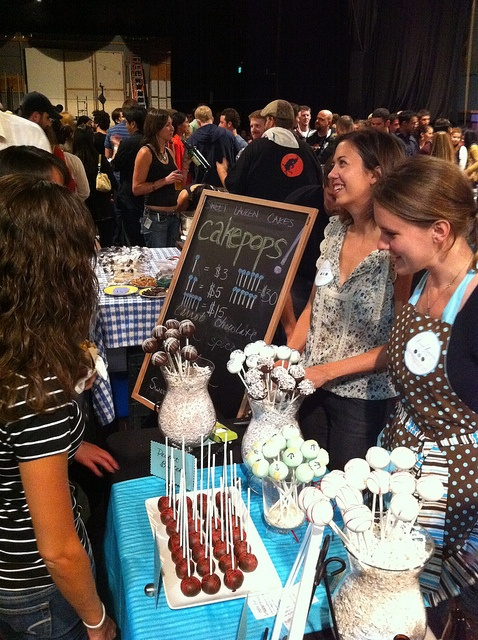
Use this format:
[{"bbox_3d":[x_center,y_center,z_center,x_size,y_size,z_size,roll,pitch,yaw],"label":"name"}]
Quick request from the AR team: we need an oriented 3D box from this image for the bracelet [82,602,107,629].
[{"bbox_3d":[-0.271,0.562,0.846,0.045,0.054,0.020,-20,-10,19],"label":"bracelet"}]

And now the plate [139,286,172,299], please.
[{"bbox_3d":[-0.511,-0.167,2.695,0.123,0.028,0.122,-12,28,-26],"label":"plate"}]

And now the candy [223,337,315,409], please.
[{"bbox_3d":[0.078,0.137,1.060,0.170,0.154,0.258,1,-20,4],"label":"candy"}]

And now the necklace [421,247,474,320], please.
[{"bbox_3d":[0.523,-0.096,1.102,0.150,0.154,0.047,19,-2,37],"label":"necklace"}]

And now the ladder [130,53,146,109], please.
[{"bbox_3d":[-2.435,-5.791,10.679,0.423,1.119,0.406,5,19,-2],"label":"ladder"}]

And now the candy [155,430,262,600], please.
[{"bbox_3d":[-0.075,0.372,0.963,0.119,0.147,0.410,-2,17,-6],"label":"candy"}]

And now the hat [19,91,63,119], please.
[{"bbox_3d":[-1.548,-1.662,3.482,0.286,0.168,0.189,-17,49,-36],"label":"hat"}]

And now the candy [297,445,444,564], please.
[{"bbox_3d":[0.177,0.243,0.578,0.153,0.181,0.148,4,19,22],"label":"candy"}]

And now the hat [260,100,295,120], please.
[{"bbox_3d":[0.316,-1.656,3.574,0.241,0.126,0.181,38,54,23],"label":"hat"}]
